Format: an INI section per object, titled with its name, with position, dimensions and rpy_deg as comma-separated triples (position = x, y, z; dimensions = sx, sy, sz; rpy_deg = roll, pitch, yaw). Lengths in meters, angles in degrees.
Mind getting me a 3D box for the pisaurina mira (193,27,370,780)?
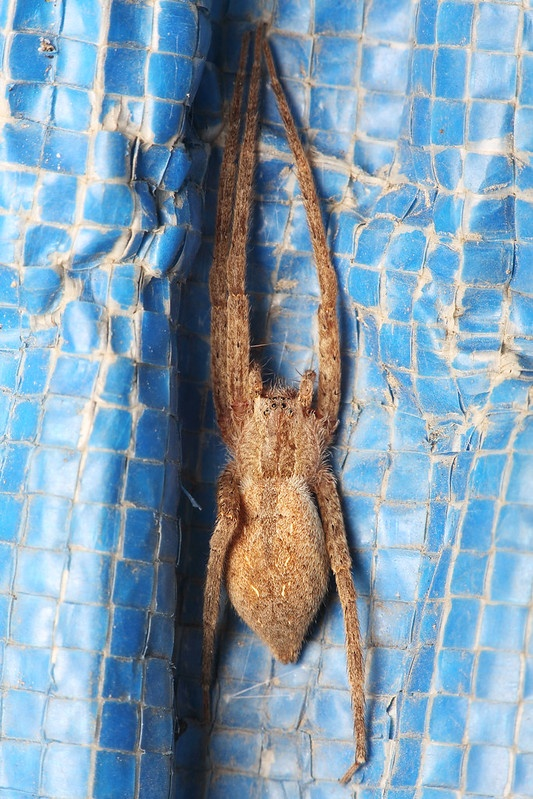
[pisaurina mira]
position = 0.034, 0.009, 1.640
dimensions = 0.287, 0.132, 1.171
rpy_deg = 1, 86, -22
